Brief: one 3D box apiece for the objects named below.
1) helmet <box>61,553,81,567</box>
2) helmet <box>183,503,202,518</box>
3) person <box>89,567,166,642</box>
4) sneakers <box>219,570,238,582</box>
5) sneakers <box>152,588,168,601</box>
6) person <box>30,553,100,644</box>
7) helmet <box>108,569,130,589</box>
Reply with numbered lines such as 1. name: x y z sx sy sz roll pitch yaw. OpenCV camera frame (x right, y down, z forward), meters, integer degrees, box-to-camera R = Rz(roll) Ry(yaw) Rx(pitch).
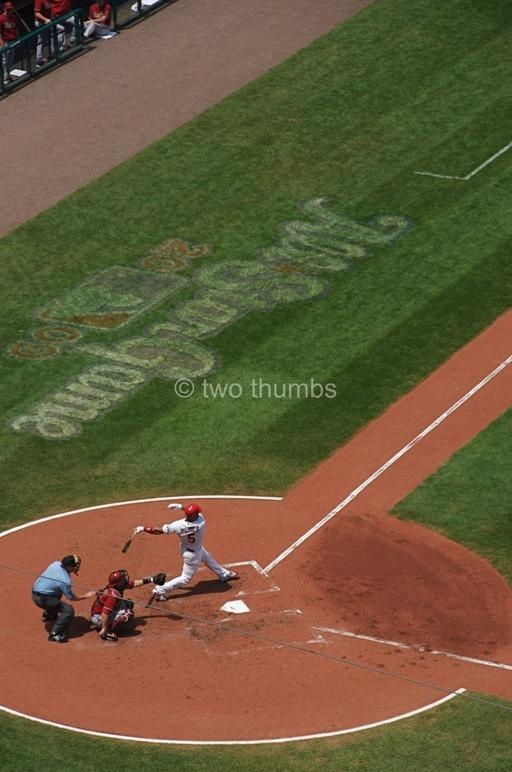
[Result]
1. helmet: -2.913 2.757 21.736 0.286 0.177 0.232 -1 -23 -23
2. helmet: -1.023 2.018 21.984 0.230 0.219 0.277 -13 22 -8
3. person: -1.986 3.414 21.789 1.350 0.982 0.770 -11 15 -34
4. sneakers: -0.434 3.154 22.761 0.404 0.166 0.131 -5 21 5
5. sneakers: -1.572 3.398 22.328 0.203 0.088 0.250 2 1 27
6. person: -3.065 3.312 21.794 1.089 1.280 0.792 1 17 -19
7. helmet: -2.137 3.039 21.634 0.370 0.275 0.269 -15 31 -19
